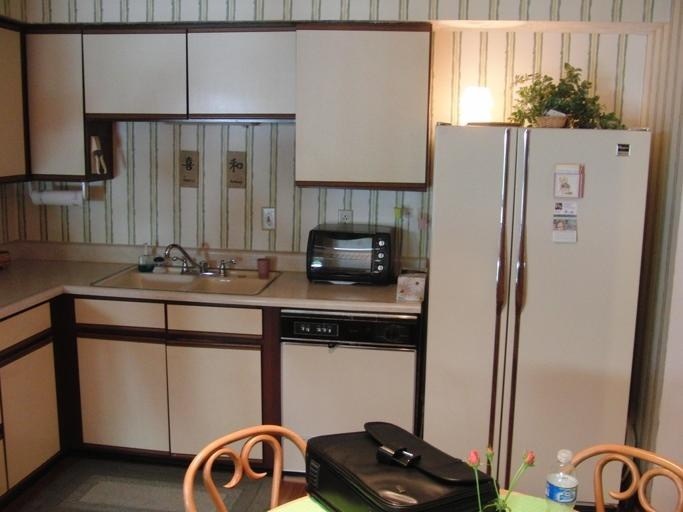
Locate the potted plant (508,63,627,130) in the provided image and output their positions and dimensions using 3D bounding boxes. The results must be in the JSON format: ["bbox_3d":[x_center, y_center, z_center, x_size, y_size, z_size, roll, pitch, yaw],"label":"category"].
[{"bbox_3d":[1.236,-0.871,3.307,0.580,0.360,0.311,5,10,26],"label":"potted plant"}]

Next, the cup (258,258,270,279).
[{"bbox_3d":[-0.496,0.080,3.920,0.101,0.129,0.107,0,8,0],"label":"cup"}]

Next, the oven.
[{"bbox_3d":[0.044,-0.042,3.783,0.504,0.367,0.385,3,22,2],"label":"oven"}]

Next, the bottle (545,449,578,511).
[{"bbox_3d":[0.702,0.707,1.928,0.085,0.208,0.176,4,10,20],"label":"bottle"}]

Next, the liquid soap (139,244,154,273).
[{"bbox_3d":[-1.289,0.010,3.989,0.100,0.170,0.179,-2,10,-18],"label":"liquid soap"}]
